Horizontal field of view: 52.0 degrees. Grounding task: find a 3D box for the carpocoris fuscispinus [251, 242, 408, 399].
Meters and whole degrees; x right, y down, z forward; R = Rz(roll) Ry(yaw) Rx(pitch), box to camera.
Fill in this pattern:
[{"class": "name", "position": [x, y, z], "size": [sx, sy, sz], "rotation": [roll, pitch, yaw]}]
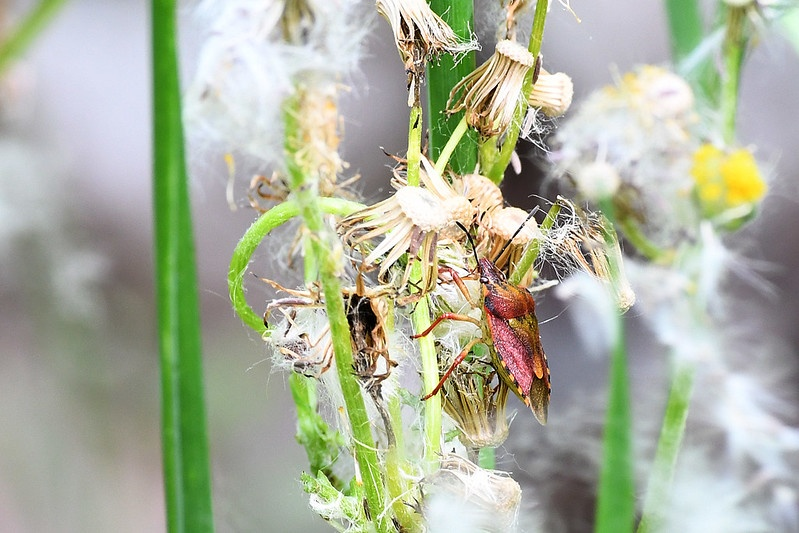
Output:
[{"class": "carpocoris fuscispinus", "position": [-0.068, 0.068, 0.917], "size": [0.134, 0.153, 0.156], "rotation": [-26, 38, -22]}]
